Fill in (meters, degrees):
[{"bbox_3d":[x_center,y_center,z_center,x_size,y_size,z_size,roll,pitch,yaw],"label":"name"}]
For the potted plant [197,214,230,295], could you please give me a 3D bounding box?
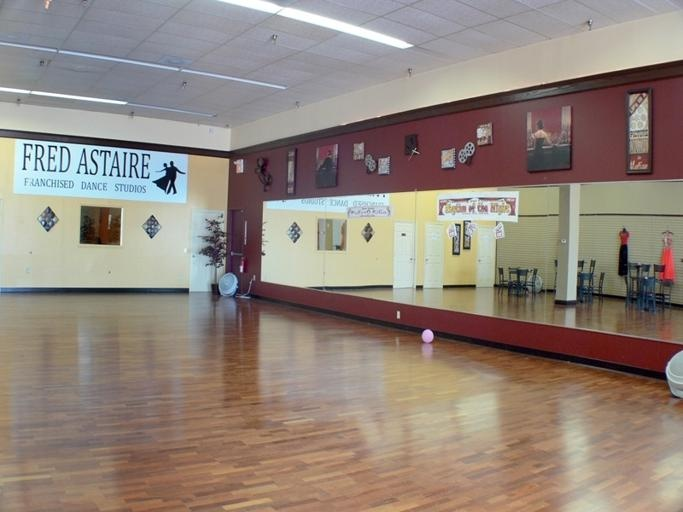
[{"bbox_3d":[-4.068,-0.101,15.444,0.917,2.528,0.554,0,3,-23],"label":"potted plant"}]
